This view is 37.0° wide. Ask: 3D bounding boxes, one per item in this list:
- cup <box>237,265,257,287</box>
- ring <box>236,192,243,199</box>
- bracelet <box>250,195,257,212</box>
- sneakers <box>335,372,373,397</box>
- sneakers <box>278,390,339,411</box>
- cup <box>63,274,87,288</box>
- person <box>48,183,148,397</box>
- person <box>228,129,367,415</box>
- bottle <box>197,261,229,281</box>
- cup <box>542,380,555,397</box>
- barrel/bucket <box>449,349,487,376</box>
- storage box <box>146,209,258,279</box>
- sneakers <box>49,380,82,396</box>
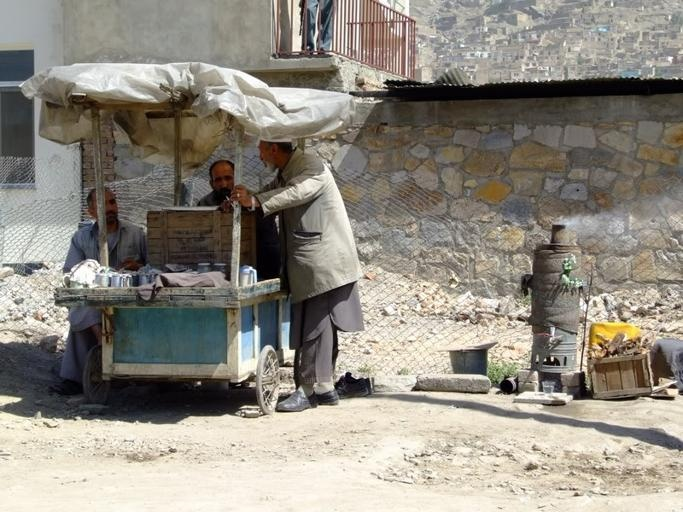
[{"bbox_3d":[-0.877,0.193,9.954,0.160,0.187,0.210,6,9,29],"label":"cup"},{"bbox_3d":[-0.969,-0.574,9.705,0.042,0.049,0.018,7,9,8],"label":"ring"},{"bbox_3d":[-0.844,-0.513,9.816,0.059,0.140,0.154,-1,-1,5],"label":"bracelet"},{"bbox_3d":[0.115,1.407,11.001,0.501,0.180,0.177,0,-3,-1],"label":"sneakers"},{"bbox_3d":[-0.331,1.488,10.471,0.640,0.152,0.229,2,-6,-38],"label":"sneakers"},{"bbox_3d":[-2.584,0.249,9.881,0.239,0.106,0.089,7,16,25],"label":"cup"},{"bbox_3d":[-2.547,0.404,10.706,1.052,2.199,0.717,-4,16,-17],"label":"person"},{"bbox_3d":[-0.355,0.193,10.380,1.167,2.705,0.900,1,16,0],"label":"person"},{"bbox_3d":[-1.252,0.153,9.949,0.210,0.177,0.205,-1,0,24],"label":"bottle"},{"bbox_3d":[2.183,1.388,10.833,0.146,0.103,0.127,-3,-5,17],"label":"cup"},{"bbox_3d":[1.417,1.160,11.401,0.410,0.258,0.312,0,-3,6],"label":"barrel/bucket"},{"bbox_3d":[-1.403,-0.133,10.542,1.216,0.613,0.816,2,-2,4],"label":"storage box"},{"bbox_3d":[-2.939,1.416,10.934,0.295,0.094,0.167,0,2,-9],"label":"sneakers"}]
